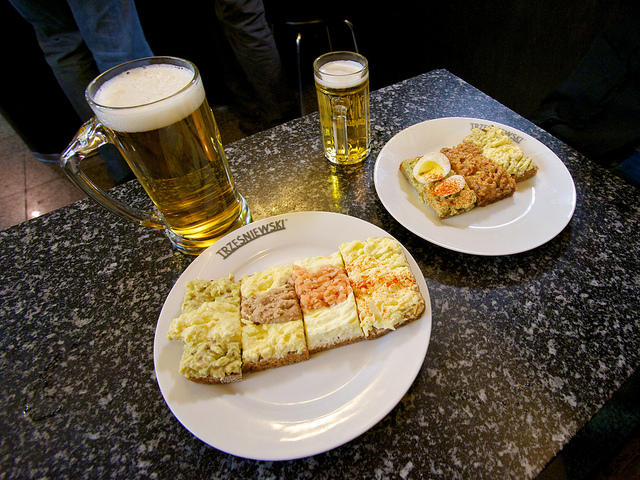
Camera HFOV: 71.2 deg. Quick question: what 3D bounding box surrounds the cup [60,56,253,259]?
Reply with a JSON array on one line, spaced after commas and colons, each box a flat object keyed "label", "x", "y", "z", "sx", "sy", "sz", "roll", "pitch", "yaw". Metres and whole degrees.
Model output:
[{"label": "cup", "x": -0.529, "y": -0.277, "z": 1.504, "sx": 0.562, "sy": 0.520, "sz": 0.413, "roll": 16, "pitch": 58, "yaw": 13}]

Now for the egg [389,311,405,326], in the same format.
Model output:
[{"label": "egg", "x": 0.228, "y": 0.235, "z": 1.336, "sx": 0.053, "sy": 0.030, "sz": 0.026, "roll": -19, "pitch": 57, "yaw": -10}]

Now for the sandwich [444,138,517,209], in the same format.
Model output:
[{"label": "sandwich", "x": 0.599, "y": -0.253, "z": 1.714, "sx": 0.160, "sy": 0.088, "sz": 0.284, "roll": -24, "pitch": 50, "yaw": 0}]

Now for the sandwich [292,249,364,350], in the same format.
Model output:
[{"label": "sandwich", "x": 0.022, "y": 0.175, "z": 1.436, "sx": 0.197, "sy": 0.108, "sz": 0.333, "roll": -12, "pitch": 50, "yaw": -7}]

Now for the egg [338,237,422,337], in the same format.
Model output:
[{"label": "egg", "x": 0.195, "y": 0.124, "z": 1.399, "sx": 0.189, "sy": 0.078, "sz": 0.306, "roll": -11, "pitch": 57, "yaw": -1}]
